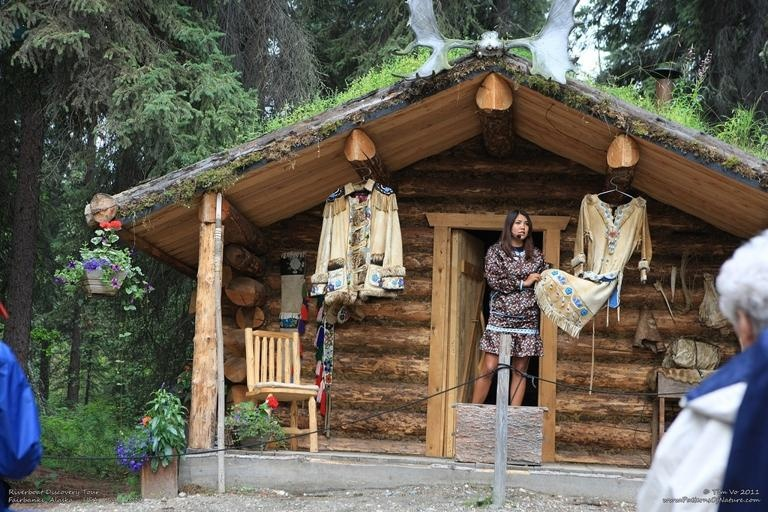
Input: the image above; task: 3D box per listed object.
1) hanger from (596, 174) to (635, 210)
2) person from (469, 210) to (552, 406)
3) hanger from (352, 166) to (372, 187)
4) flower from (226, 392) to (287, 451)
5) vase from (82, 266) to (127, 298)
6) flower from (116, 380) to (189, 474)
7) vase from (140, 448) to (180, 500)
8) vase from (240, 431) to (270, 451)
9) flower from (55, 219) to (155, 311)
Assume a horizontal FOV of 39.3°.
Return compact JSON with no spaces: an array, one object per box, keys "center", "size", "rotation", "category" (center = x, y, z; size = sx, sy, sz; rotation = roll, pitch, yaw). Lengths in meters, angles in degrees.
[{"center":[3.354,-1.015,15.394],"size":[0.384,0.547,0.315],"rotation":[7,-35,-4],"category":"hanger"},{"center":[1.806,0.725,15.294],"size":[1.008,2.797,0.859],"rotation":[1,-11,5],"category":"person"},{"center":[-0.311,-1.172,15.734],"size":[0.244,0.231,0.388],"rotation":[2,-11,3],"category":"hanger"},{"center":[-1.834,2.443,15.715],"size":[0.816,0.625,0.834],"rotation":[1,-3,15],"category":"flower"},{"center":[-3.862,0.349,14.846],"size":[0.476,0.290,0.337],"rotation":[5,-13,-20],"category":"vase"},{"center":[-3.164,2.477,14.989],"size":[1.429,1.457,0.986],"rotation":[0,-7,-13],"category":"flower"},{"center":[-3.058,2.965,14.741],"size":[0.500,0.643,0.509],"rotation":[3,19,1],"category":"vase"},{"center":[-1.862,2.688,15.530],"size":[0.355,0.254,0.111],"rotation":[-2,-44,7],"category":"vase"},{"center":[-3.925,0.174,15.133],"size":[0.956,0.839,1.342],"rotation":[-20,-19,24],"category":"flower"}]
